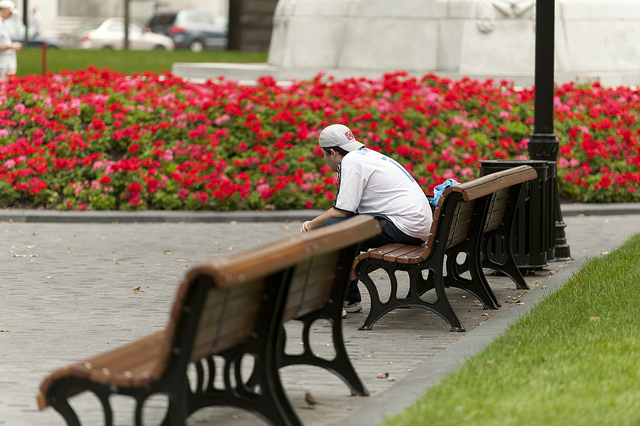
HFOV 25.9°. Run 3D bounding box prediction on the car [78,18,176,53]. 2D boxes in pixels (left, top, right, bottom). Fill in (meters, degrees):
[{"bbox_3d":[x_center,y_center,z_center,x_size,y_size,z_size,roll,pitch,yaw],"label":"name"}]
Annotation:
[{"bbox_3d":[-7.011,-6.587,50.424,4.281,1.452,1.841,-2,4,-33],"label":"car"}]
